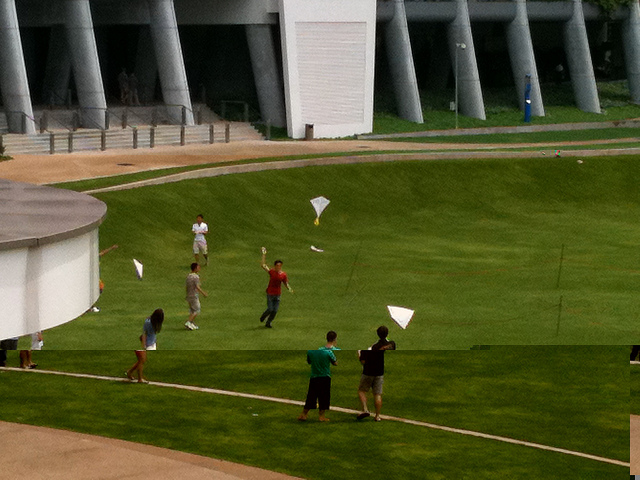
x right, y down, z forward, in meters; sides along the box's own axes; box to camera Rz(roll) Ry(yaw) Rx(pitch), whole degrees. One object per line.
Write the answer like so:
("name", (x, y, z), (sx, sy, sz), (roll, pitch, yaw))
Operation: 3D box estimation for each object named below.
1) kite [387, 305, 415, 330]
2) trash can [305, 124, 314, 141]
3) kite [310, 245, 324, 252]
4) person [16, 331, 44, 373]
("kite", (2.288, 2.198, 31.116), (0.801, 0.047, 0.920), (19, 23, 30))
("trash can", (-0.651, -6.124, 63.641), (0.434, 0.945, 0.854), (-1, 3, -3))
("kite", (-0.185, 0.313, 43.665), (0.523, 0.214, 0.172), (9, 16, 42))
("person", (-8.615, 3.229, 33.464), (0.681, 1.224, 2.933), (-1, 4, -15))
